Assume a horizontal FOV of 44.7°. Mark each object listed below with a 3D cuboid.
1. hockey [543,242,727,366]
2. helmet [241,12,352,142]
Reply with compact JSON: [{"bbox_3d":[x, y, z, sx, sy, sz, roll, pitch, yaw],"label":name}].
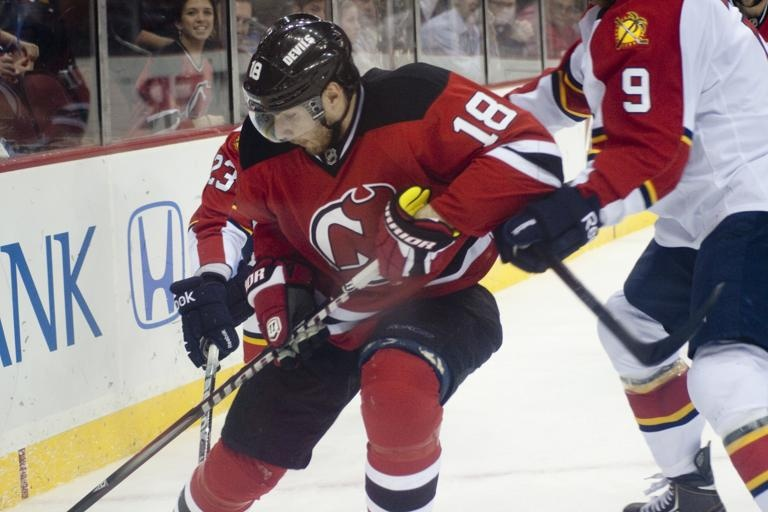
[{"bbox_3d":[0.786,0.188,2.996,0.540,0.273,0.169,9,15,20],"label":"hockey"},{"bbox_3d":[-0.276,-0.598,3.178,0.384,0.428,0.170,3,14,-3],"label":"helmet"}]
